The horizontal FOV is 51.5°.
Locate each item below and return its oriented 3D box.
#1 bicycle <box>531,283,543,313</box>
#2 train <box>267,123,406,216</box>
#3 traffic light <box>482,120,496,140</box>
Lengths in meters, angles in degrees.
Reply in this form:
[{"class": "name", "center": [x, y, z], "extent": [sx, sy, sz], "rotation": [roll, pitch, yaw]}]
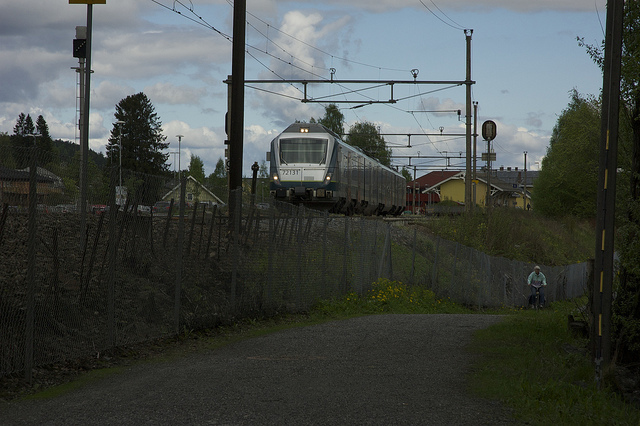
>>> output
[{"class": "bicycle", "center": [8.940, 3.452, 27.415], "extent": [0.337, 0.900, 0.708], "rotation": [1, 2, 5]}, {"class": "train", "center": [1.670, -1.769, 38.549], "extent": [2.793, 4.285, 18.819], "rotation": [-1, -1, 13]}, {"class": "traffic light", "center": [9.159, -4.426, 36.067], "extent": [0.671, 0.995, 0.586], "rotation": [2, 2, 15]}]
